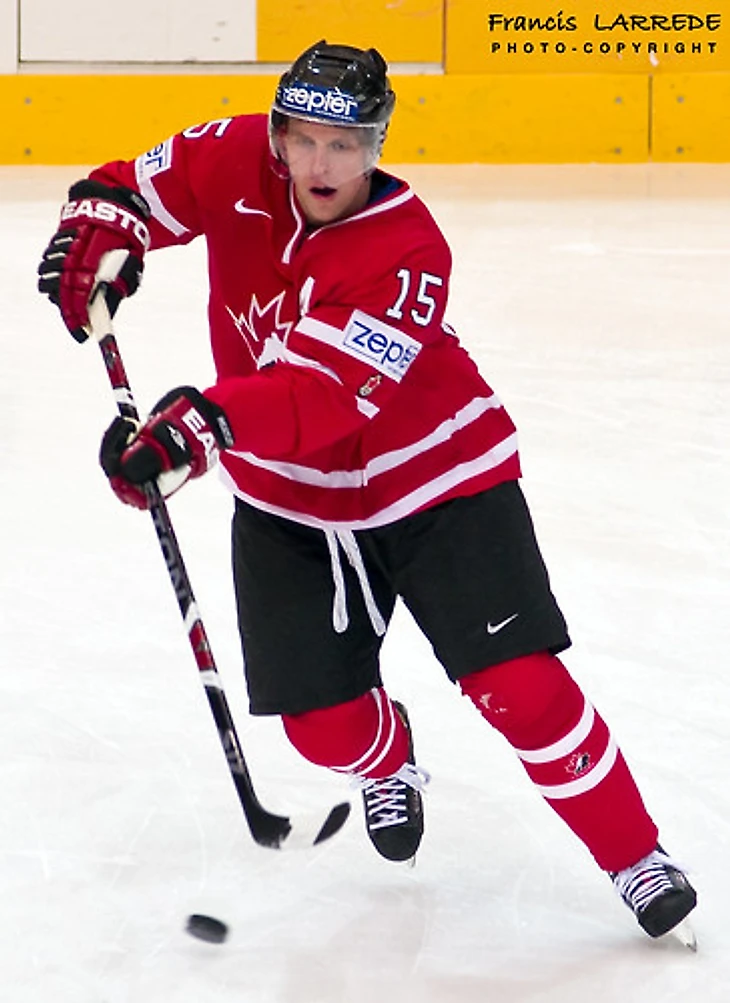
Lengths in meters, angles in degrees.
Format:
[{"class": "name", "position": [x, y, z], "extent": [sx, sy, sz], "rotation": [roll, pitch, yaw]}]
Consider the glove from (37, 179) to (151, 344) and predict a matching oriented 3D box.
[{"class": "glove", "position": [-0.333, -0.326, 1.437], "extent": [0.162, 0.198, 0.089], "rotation": [16, -4, 29]}]

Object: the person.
[{"class": "person", "position": [-0.051, -0.014, 1.262], "extent": [0.552, 1.028, 0.788], "rotation": [-12, 21, -23]}]

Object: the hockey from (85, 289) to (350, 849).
[{"class": "hockey", "position": [-0.203, 0.139, 1.413], "extent": [0.146, 0.961, 0.127], "rotation": [-22, -2, -33]}]

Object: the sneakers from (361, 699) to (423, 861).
[{"class": "sneakers", "position": [0.040, 0.379, 1.396], "extent": [0.081, 0.199, 0.086], "rotation": [-9, -22, 14]}]

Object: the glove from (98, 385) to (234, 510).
[{"class": "glove", "position": [-0.212, -0.063, 1.004], "extent": [0.100, 0.056, 0.138], "rotation": [-38, -2, 24]}]

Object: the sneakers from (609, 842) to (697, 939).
[{"class": "sneakers", "position": [0.334, 0.444, 1.227], "extent": [0.073, 0.043, 0.120], "rotation": [-30, 16, 0]}]
